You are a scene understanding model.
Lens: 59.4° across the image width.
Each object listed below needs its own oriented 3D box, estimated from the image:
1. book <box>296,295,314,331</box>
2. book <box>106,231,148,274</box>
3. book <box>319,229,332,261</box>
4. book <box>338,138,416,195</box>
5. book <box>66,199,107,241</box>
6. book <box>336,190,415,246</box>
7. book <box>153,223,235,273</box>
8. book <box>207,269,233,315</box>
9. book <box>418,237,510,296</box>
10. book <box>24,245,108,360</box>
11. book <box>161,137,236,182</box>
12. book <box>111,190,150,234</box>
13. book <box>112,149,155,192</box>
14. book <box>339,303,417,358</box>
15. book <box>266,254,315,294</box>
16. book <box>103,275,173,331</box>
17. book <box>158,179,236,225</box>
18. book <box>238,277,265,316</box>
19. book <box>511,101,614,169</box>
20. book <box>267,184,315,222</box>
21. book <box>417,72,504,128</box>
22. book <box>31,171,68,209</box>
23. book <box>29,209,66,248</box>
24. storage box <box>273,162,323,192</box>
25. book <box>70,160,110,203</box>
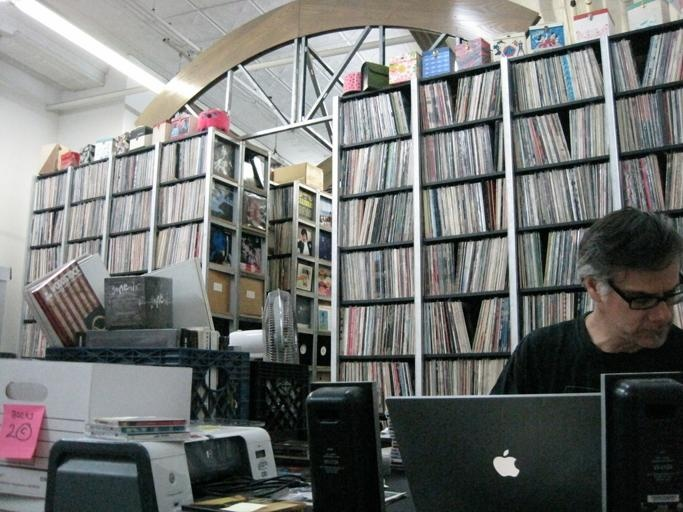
[{"bbox_3d":[-0.348,0.532,5.680,0.086,0.306,0.260,-9,-13,25],"label":"book"},{"bbox_3d":[-1.868,-0.027,5.307,0.368,0.328,0.134,-4,-5,32],"label":"book"},{"bbox_3d":[-0.160,-0.113,6.056,0.029,0.276,0.245,-6,-22,26],"label":"book"},{"bbox_3d":[0.235,-0.601,4.061,0.327,0.131,0.441,-4,-6,18],"label":"book"},{"bbox_3d":[-2.397,-0.338,5.707,0.347,0.311,0.259,-11,-17,38],"label":"book"},{"bbox_3d":[0.260,-0.237,3.984,0.325,0.143,0.438,-7,-8,13],"label":"book"},{"bbox_3d":[-1.236,-0.095,5.070,0.702,0.204,0.528,-8,-15,36],"label":"book"},{"bbox_3d":[-0.991,0.301,4.918,0.043,0.360,0.299,-9,-13,23],"label":"book"},{"bbox_3d":[0.757,0.072,3.658,0.393,0.360,0.387,-4,-11,28],"label":"book"},{"bbox_3d":[-0.982,0.160,2.151,0.269,0.355,0.238,0,-12,-17],"label":"book"},{"bbox_3d":[-1.251,-0.840,5.145,0.397,0.170,0.521,-4,-6,22],"label":"book"},{"bbox_3d":[-1.870,-0.393,5.390,0.398,0.279,0.043,-8,-14,31],"label":"book"},{"bbox_3d":[-1.867,-0.773,5.451,0.419,0.295,0.044,-9,-16,30],"label":"book"},{"bbox_3d":[0.229,0.476,3.853,0.504,0.328,0.023,-9,-13,24],"label":"book"},{"bbox_3d":[-0.457,0.178,5.664,0.454,0.362,0.288,-2,-12,-7],"label":"book"},{"bbox_3d":[-0.730,0.189,2.239,0.208,0.198,0.205,-4,-10,17],"label":"book"},{"bbox_3d":[-1.258,-0.463,5.068,0.378,0.159,0.522,-3,-6,29],"label":"book"},{"bbox_3d":[-0.774,0.361,5.214,0.081,0.304,0.343,1,-2,26],"label":"book"},{"bbox_3d":[1.287,-0.692,3.515,0.495,0.325,0.117,-9,-4,28],"label":"book"},{"bbox_3d":[-0.452,-0.436,5.931,0.333,0.432,0.461,-3,-6,35],"label":"book"},{"bbox_3d":[0.788,-1.002,3.833,0.307,0.126,0.427,-10,0,32],"label":"book"},{"bbox_3d":[-2.949,-0.662,6.109,0.394,0.391,0.138,-6,-18,34],"label":"book"},{"bbox_3d":[-2.923,-0.269,6.019,0.345,0.326,0.192,-11,-16,41],"label":"book"},{"bbox_3d":[-0.433,-0.815,6.067,0.345,0.211,0.352,-6,-15,39],"label":"storage box"},{"bbox_3d":[-2.383,-0.707,5.759,0.388,0.346,0.228,-10,-17,33],"label":"book"}]
